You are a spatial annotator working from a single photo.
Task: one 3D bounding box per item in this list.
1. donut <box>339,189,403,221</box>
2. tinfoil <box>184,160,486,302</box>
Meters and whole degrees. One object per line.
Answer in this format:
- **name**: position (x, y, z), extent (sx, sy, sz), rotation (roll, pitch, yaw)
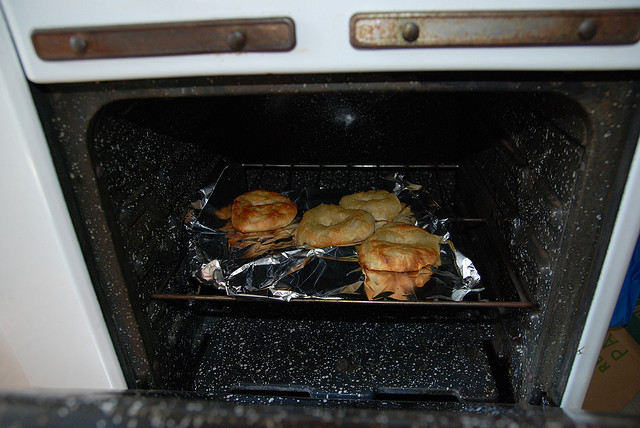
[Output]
- **donut**: position (0.176, -0.048, 1.866), extent (0.273, 0.085, 0.269), rotation (6, -10, -6)
- **tinfoil**: position (0.016, 0.082, 1.478), extent (0.700, 0.127, 0.532), rotation (1, 49, -3)
